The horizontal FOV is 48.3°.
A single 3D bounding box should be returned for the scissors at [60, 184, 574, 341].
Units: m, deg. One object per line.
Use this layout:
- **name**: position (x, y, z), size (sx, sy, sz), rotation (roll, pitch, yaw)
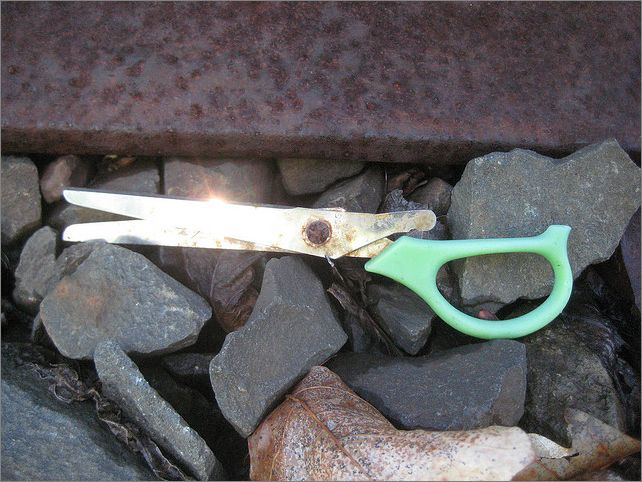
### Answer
- **scissors**: position (-0.016, 0.038, 1.880), size (1.319, 0.199, 0.310), rotation (7, 80, 4)
